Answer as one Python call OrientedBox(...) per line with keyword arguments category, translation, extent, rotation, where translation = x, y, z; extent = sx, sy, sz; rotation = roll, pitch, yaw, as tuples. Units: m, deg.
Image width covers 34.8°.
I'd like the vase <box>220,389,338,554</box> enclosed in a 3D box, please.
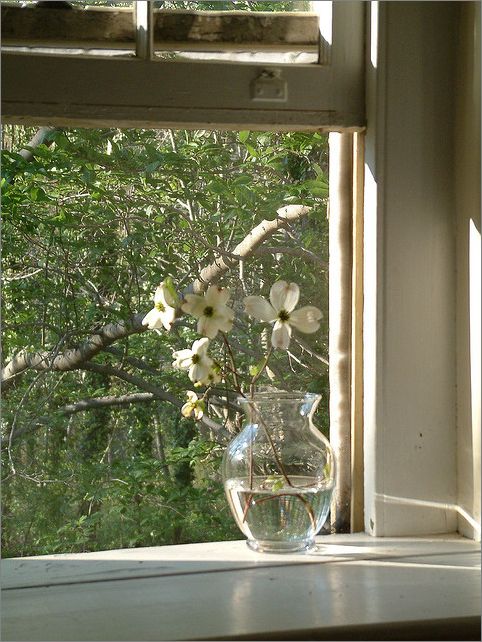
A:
OrientedBox(category="vase", translation=(0.060, 0.232, 1.189), extent=(0.207, 0.216, 0.181), rotation=(0, -6, -19))
